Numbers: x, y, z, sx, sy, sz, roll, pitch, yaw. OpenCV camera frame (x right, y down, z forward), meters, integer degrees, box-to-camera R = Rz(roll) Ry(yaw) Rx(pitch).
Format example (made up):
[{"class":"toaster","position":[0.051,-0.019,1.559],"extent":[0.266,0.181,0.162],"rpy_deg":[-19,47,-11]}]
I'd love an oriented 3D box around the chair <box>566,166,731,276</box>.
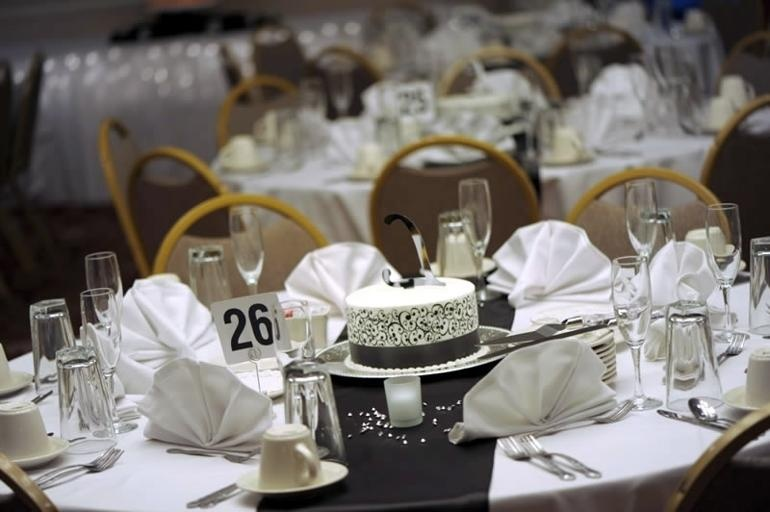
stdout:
[{"class":"chair","position":[0.965,-0.172,2.371],"extent":[0.415,0.618,0.414],"rpy_deg":[-9,2,5]}]

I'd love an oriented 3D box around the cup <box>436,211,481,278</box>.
[{"class":"cup","position":[0.264,-0.037,2.040],"extent":[0.176,0.227,0.182],"rpy_deg":[-4,13,1]}]
